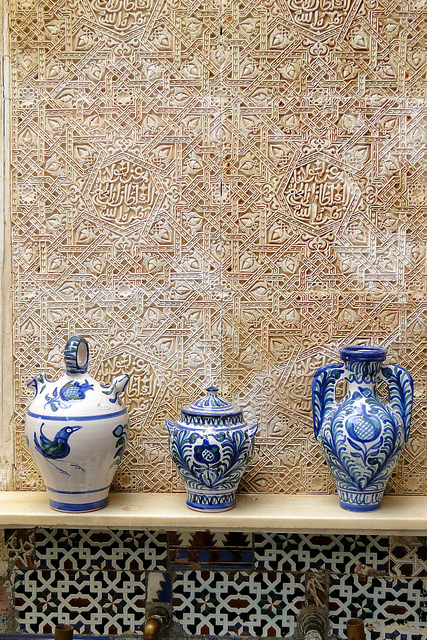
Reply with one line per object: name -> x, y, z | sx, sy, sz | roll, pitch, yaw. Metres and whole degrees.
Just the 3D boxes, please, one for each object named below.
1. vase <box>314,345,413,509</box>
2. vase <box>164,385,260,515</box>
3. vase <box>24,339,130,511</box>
vase -> 0.365, 0.260, 2.063 | 0.240, 0.391, 0.191 | -4, -15, 27
vase -> -0.008, 0.317, 2.077 | 0.257, 0.289, 0.211 | -2, 5, -18
vase -> -0.331, 0.254, 2.040 | 0.248, 0.406, 0.175 | 5, -13, -10
